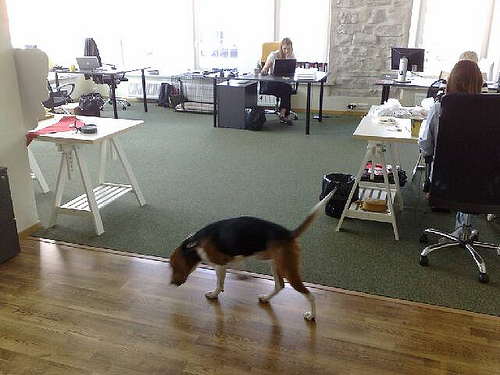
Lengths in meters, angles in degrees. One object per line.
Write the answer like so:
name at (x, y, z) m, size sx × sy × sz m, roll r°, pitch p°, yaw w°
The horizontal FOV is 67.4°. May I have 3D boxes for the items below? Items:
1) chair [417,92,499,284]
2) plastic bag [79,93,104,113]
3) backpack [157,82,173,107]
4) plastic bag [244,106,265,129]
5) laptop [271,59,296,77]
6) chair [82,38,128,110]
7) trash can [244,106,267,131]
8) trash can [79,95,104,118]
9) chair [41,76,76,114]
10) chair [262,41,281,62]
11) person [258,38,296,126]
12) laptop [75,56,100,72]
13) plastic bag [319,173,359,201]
chair at (1.624, -0.046, 2.767) m, size 0.560 × 1.301 × 0.634 m, roll 10°, pitch 23°, yaw 25°
plastic bag at (-3.145, -1.615, 7.407) m, size 0.444 × 0.252 × 0.584 m, roll -2°, pitch 9°, yaw -12°
backpack at (-1.918, -2.070, 8.380) m, size 0.304 × 0.547 × 0.455 m, roll 11°, pitch 24°, yaw 9°
plastic bag at (0.066, -1.204, 6.738) m, size 0.406 × 0.426 × 0.436 m, roll 7°, pitch 20°, yaw 17°
laptop at (0.580, -2.094, 6.644) m, size 0.375 × 0.270 × 0.269 m, roll -1°, pitch 26°, yaw -3°
chair at (-3.099, -2.413, 8.026) m, size 0.807 × 1.458 × 2.180 m, roll -7°, pitch 22°, yaw -18°
trash can at (0.066, -1.215, 6.689) m, size 0.398 × 0.371 × 0.368 m, roll -22°, pitch 30°, yaw -39°
trash can at (-3.065, -1.520, 7.322) m, size 0.518 × 0.483 × 0.410 m, roll 3°, pitch 1°, yaw 24°
chair at (-3.763, -1.779, 7.353) m, size 0.465 × 0.602 × 2.062 m, roll -9°, pitch 23°, yaw -22°
chair at (0.388, -2.722, 7.512) m, size 0.352 × 0.452 × 0.370 m, roll 4°, pitch 30°, yaw 4°
person at (0.480, -2.009, 7.069) m, size 0.668 × 1.502 × 0.962 m, roll 2°, pitch 21°, yaw 5°
laptop at (-3.224, -2.398, 7.301) m, size 0.500 × 0.271 × 0.181 m, roll 7°, pitch 22°, yaw 18°
plastic bag at (0.896, 0.030, 3.707) m, size 0.304 × 0.314 × 0.295 m, roll -7°, pitch 5°, yaw 41°
